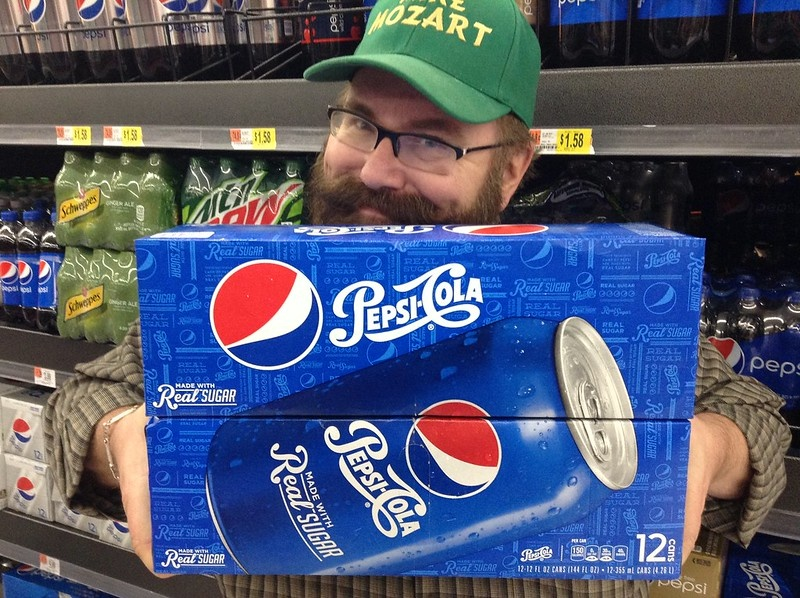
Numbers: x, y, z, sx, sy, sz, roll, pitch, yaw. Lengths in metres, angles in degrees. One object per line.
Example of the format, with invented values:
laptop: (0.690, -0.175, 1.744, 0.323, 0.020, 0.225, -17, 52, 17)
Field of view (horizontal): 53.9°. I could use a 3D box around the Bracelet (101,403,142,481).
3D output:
Bracelet: (-0.597, 0.320, 1.664, 0.103, 0.188, 0.072, 6, 9, 41)
